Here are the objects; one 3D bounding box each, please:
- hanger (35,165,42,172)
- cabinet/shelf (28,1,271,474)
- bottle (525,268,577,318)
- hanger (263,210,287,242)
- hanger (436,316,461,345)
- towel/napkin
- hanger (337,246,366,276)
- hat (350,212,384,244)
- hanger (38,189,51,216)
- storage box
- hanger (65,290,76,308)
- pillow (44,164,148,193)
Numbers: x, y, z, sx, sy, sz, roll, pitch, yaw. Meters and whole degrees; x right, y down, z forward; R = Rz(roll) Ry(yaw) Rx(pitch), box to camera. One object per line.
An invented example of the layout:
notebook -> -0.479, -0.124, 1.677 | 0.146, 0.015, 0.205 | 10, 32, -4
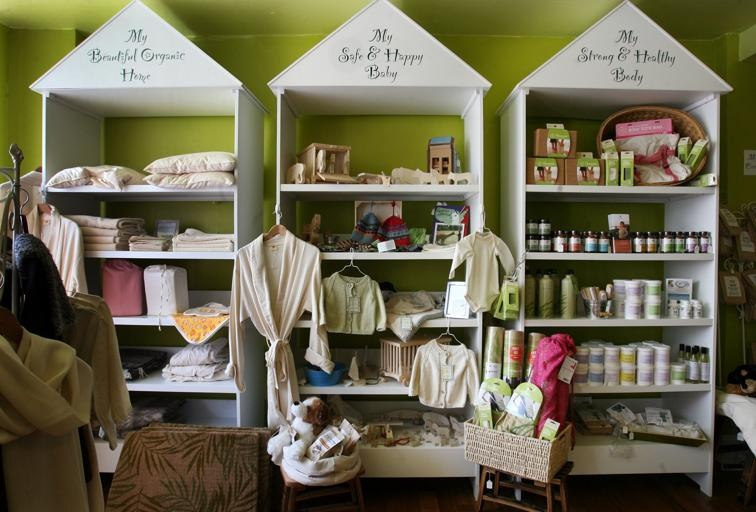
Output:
hanger -> -2.675, -0.684, 5.112 | 0.050, 0.062, 0.089 | -2, 1, -35
cabinet/shelf -> -1.735, -0.201, 5.089 | 1.551, 3.426, 0.869 | 0, 4, 12
bottle -> 1.304, 0.293, 4.926 | 0.360, 0.344, 0.137 | 1, -4, -13
hanger -> -0.765, -0.230, 4.801 | 0.153, 0.234, 0.133 | -3, 5, -25
hanger -> 0.533, 0.568, 5.003 | 0.265, 0.289, 0.011 | 4, 18, 11
towel/napkin -> -1.727, -0.184, 5.062 | 1.247, 0.277, 0.373 | 0, 5, 2
hanger -> -0.215, 0.033, 5.067 | 0.233, 0.195, 0.006 | 4, 14, 22
hat -> -0.089, -0.197, 5.105 | 0.189, 0.251, 0.073 | 2, -16, -1
hanger -> -2.507, -0.412, 4.894 | 0.103, 0.183, 0.082 | -1, 5, -13
storage box -> 1.417, -0.755, 4.958 | 0.500, 0.436, 0.163 | -1, 5, -1
hanger -> -1.878, 0.266, 3.964 | 0.078, 0.106, 0.036 | -2, -4, -29
pillow -> -2.130, -0.584, 4.893 | 0.697, 0.185, 0.283 | -2, 6, -20
